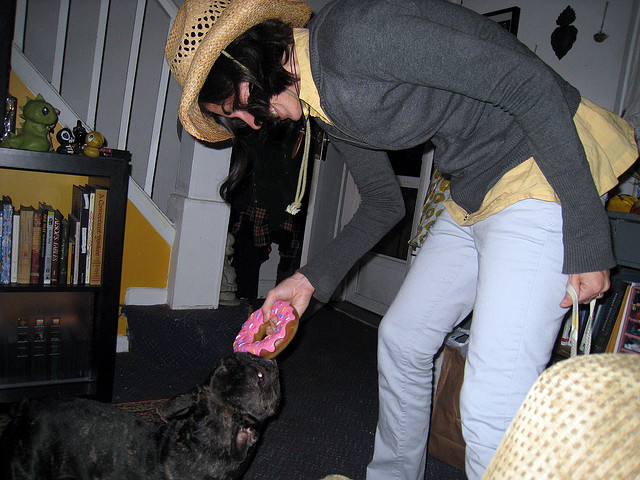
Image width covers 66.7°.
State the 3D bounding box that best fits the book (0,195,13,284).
[{"bbox_3d":[-1.438,0.006,2.211,0.045,0.341,0.195,2,12,-33],"label":"book"}]

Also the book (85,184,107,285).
[{"bbox_3d":[-1.052,-0.024,2.258,0.067,0.458,0.381,4,5,-19],"label":"book"}]

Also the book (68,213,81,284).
[{"bbox_3d":[-1.151,0.058,2.263,0.038,0.309,0.254,2,11,-22],"label":"book"}]

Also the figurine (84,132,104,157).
[{"bbox_3d":[-1.091,-0.457,2.330,0.084,0.106,0.110,5,12,-26],"label":"figurine"}]

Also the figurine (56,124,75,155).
[{"bbox_3d":[-1.255,-0.491,2.386,0.081,0.140,0.085,-4,25,-26],"label":"figurine"}]

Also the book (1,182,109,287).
[{"bbox_3d":[-1.220,0.039,2.382,0.554,0.607,0.431,4,1,-24],"label":"book"}]

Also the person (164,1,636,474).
[{"bbox_3d":[0.233,0.061,1.643,1.342,1.573,0.490,13,10,14],"label":"person"}]

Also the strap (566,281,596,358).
[{"bbox_3d":[1.032,0.291,1.860,0.066,0.306,0.034,2,18,28],"label":"strap"}]

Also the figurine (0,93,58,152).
[{"bbox_3d":[-1.385,-0.560,2.305,0.274,0.262,0.198,15,11,24],"label":"figurine"}]

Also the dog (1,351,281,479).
[{"bbox_3d":[-0.537,0.431,1.548,0.662,0.565,0.351,15,26,-24],"label":"dog"}]

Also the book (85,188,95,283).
[{"bbox_3d":[-1.081,-0.034,2.260,0.040,0.428,0.316,3,15,-27],"label":"book"}]

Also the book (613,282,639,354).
[{"bbox_3d":[1.420,0.355,2.243,0.034,0.246,0.097,16,12,35],"label":"book"}]

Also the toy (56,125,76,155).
[{"bbox_3d":[-1.255,-0.489,2.390,0.076,0.135,0.098,11,25,6],"label":"toy"}]

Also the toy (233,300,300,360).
[{"bbox_3d":[-0.190,0.330,1.739,0.059,0.229,0.221,40,-14,-17],"label":"toy"}]

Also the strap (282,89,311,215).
[{"bbox_3d":[-0.069,-0.303,1.793,0.079,0.414,0.104,-7,25,-35],"label":"strap"}]

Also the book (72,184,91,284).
[{"bbox_3d":[-1.121,-0.007,2.267,0.048,0.380,0.323,2,22,-24],"label":"book"}]
